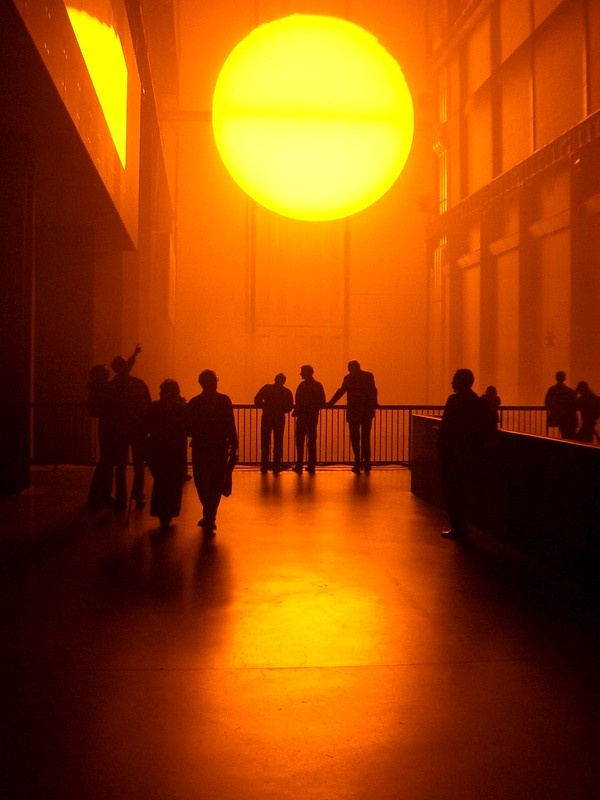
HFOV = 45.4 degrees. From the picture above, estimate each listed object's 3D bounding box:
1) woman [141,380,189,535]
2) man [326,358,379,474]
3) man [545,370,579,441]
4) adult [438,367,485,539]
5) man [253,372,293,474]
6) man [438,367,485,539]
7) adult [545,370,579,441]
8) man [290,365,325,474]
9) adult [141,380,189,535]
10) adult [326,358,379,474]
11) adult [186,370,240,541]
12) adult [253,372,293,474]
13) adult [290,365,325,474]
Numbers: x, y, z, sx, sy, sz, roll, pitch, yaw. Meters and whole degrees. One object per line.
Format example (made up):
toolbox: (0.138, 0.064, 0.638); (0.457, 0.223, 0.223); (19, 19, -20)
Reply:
woman: (-1.523, 0.609, 8.343); (0.460, 1.675, 0.727); (0, 0, -25)
man: (1.119, 0.339, 13.929); (0.742, 2.177, 1.893); (0, 0, 7)
man: (5.185, 0.088, 14.280); (0.600, 1.302, 0.561); (0, 0, 32)
adult: (1.700, 0.577, 7.526); (0.492, 1.759, 0.372); (0, 0, 15)
man: (-0.521, 0.462, 14.257); (0.735, 1.953, 1.486); (0, 0, -4)
man: (1.700, 0.577, 7.526); (0.492, 1.759, 0.372); (0, 0, 15)
adult: (5.197, 0.088, 14.294); (0.609, 1.302, 0.616); (0, 0, 28)
man: (0.187, 0.363, 14.185); (0.570, 2.125, 1.477); (0, 0, 2)
adult: (-1.520, 0.609, 8.332); (0.465, 1.675, 0.737); (0, 0, -27)
adult: (1.123, 0.339, 13.922); (0.733, 2.177, 1.881); (0, 0, 7)
adult: (-0.978, 0.542, 8.236); (0.565, 1.792, 0.637); (0, 0, -27)
adult: (-0.522, 0.462, 14.277); (0.702, 1.953, 1.524); (0, 0, -4)
adult: (0.185, 0.362, 14.277); (0.575, 2.125, 1.670); (0, 0, 1)
